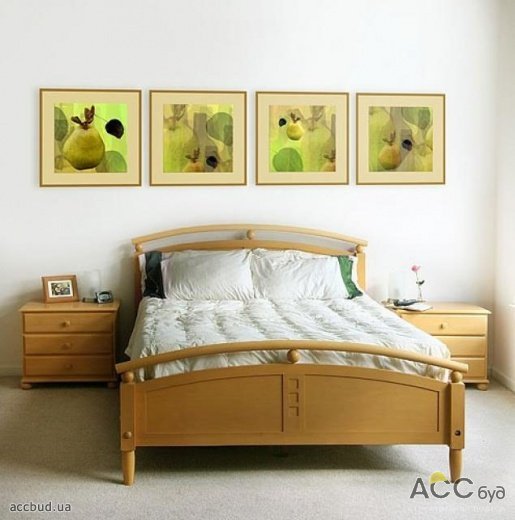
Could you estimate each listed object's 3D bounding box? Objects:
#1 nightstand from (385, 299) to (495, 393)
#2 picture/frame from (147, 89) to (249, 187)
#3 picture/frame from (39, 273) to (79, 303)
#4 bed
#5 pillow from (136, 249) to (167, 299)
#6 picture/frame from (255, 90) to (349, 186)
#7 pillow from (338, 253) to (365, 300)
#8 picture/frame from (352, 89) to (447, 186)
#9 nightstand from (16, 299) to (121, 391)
[{"bbox_3d":[1.176,0.548,3.901,0.791,0.661,0.528,0,-1,0],"label":"nightstand"},{"bbox_3d":[-0.441,-0.894,3.951,0.801,0.694,0.026,0,5,-10],"label":"picture/frame"},{"bbox_3d":[-1.363,0.191,3.857,0.234,0.185,0.016,-2,-17,-26],"label":"picture/frame"},{"bbox_3d":[0.131,0.394,3.192,1.467,0.801,1.701,0,3,-3],"label":"bed"},{"bbox_3d":[-0.698,0.095,3.751,0.184,0.292,0.107,-3,-3,1],"label":"pillow"},{"bbox_3d":[0.300,-0.907,3.995,0.784,0.676,0.024,1,2,-8],"label":"picture/frame"},{"bbox_3d":[0.634,0.115,3.810,0.193,0.259,0.072,12,-35,-32],"label":"pillow"},{"bbox_3d":[1.016,-0.921,4.023,0.789,0.688,0.017,0,4,0],"label":"picture/frame"},{"bbox_3d":[-1.141,0.505,3.835,0.941,0.699,0.507,0,0,-4],"label":"nightstand"}]
